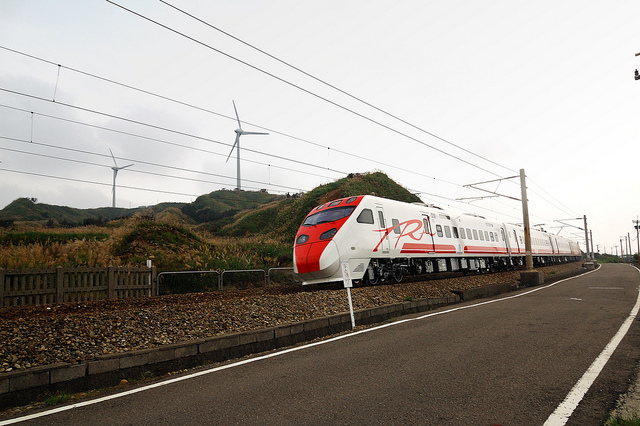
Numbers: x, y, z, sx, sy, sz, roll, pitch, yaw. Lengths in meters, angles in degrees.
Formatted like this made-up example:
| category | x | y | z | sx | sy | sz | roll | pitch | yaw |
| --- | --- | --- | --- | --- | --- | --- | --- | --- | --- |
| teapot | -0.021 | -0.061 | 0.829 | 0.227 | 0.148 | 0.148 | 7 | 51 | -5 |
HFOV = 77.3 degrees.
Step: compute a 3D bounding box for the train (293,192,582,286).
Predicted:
| category | x | y | z | sx | sy | sz | roll | pitch | yaw |
| --- | --- | --- | --- | --- | --- | --- | --- | --- | --- |
| train | 9.812 | 2.119 | 28.115 | 3.072 | 4.215 | 31.287 | -9 | -11 | 42 |
